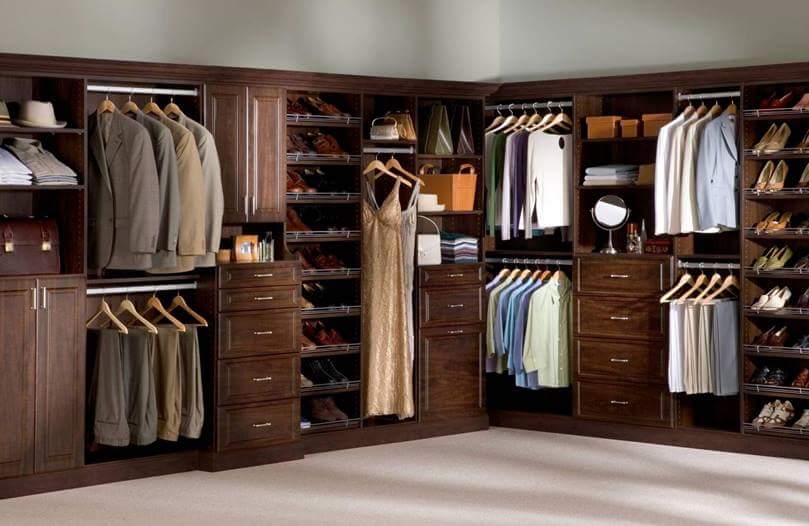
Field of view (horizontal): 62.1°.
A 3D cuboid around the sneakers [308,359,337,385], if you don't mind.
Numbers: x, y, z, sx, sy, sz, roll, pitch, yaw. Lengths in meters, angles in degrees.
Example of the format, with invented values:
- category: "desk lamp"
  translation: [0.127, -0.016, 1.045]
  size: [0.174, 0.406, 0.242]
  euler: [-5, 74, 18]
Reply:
- category: "sneakers"
  translation: [-0.686, 0.930, 5.732]
  size: [0.260, 0.091, 0.159]
  euler: [6, 8, 43]

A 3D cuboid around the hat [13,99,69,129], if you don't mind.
- category: "hat"
  translation: [-2.500, -1.024, 4.662]
  size: [0.269, 0.093, 0.226]
  euler: [11, 12, 24]

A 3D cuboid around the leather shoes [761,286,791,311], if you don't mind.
- category: "leather shoes"
  translation: [2.997, 0.306, 5.454]
  size: [0.332, 0.085, 0.122]
  euler: [-35, 22, -35]

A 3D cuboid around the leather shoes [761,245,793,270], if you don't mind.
- category: "leather shoes"
  translation: [3.033, -0.032, 5.520]
  size: [0.383, 0.107, 0.138]
  euler: [-36, 17, -28]

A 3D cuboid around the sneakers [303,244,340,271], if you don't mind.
- category: "sneakers"
  translation: [-0.639, -0.043, 5.701]
  size: [0.453, 0.158, 0.135]
  euler: [8, 24, 32]

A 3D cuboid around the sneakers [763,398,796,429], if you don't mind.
- category: "sneakers"
  translation: [3.054, 1.221, 5.501]
  size: [0.165, 0.185, 0.372]
  euler: [3, 6, 40]

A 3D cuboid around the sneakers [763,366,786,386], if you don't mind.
- category: "sneakers"
  translation: [3.000, 0.929, 5.481]
  size: [0.152, 0.112, 0.198]
  euler: [3, 5, 32]

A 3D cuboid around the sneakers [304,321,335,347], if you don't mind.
- category: "sneakers"
  translation: [-0.712, 0.608, 5.714]
  size: [0.269, 0.080, 0.165]
  euler: [19, 23, 36]

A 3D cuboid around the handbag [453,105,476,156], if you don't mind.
- category: "handbag"
  translation: [0.538, -1.193, 6.071]
  size: [0.208, 0.466, 0.508]
  euler: [-1, 2, -1]

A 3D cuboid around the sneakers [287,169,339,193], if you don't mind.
- category: "sneakers"
  translation: [-0.804, -0.688, 5.681]
  size: [0.248, 0.109, 0.325]
  euler: [-2, 3, -30]

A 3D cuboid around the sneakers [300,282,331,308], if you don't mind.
- category: "sneakers"
  translation: [-0.750, 0.274, 5.735]
  size: [0.185, 0.177, 0.220]
  euler: [1, -14, -20]

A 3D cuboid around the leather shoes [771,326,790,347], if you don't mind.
- category: "leather shoes"
  translation: [3.053, 0.601, 5.521]
  size: [0.101, 0.132, 0.275]
  euler: [3, 5, 34]

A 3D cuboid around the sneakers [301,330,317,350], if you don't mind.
- category: "sneakers"
  translation: [-0.790, 0.641, 5.601]
  size: [0.124, 0.153, 0.042]
  euler: [-7, -5, 1]

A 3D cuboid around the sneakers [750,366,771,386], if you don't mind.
- category: "sneakers"
  translation: [2.896, 0.931, 5.495]
  size: [0.084, 0.096, 0.245]
  euler: [-2, 4, 38]

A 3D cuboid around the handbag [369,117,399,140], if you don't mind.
- category: "handbag"
  translation: [-0.160, -1.147, 5.759]
  size: [0.273, 0.201, 0.127]
  euler: [1, 1, 23]

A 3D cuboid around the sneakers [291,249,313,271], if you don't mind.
- category: "sneakers"
  translation: [-0.847, -0.026, 5.573]
  size: [0.152, 0.188, 0.211]
  euler: [-7, -9, 25]

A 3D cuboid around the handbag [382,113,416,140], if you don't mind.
- category: "handbag"
  translation: [-0.036, -1.172, 5.801]
  size: [0.282, 0.238, 0.153]
  euler: [-3, -3, 33]

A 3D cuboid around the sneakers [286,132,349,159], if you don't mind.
- category: "sneakers"
  translation: [-0.733, -0.986, 5.626]
  size: [0.454, 0.144, 0.253]
  euler: [3, 6, 27]

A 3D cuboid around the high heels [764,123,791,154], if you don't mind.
- category: "high heels"
  translation: [2.996, -1.012, 5.456]
  size: [0.133, 0.253, 0.246]
  euler: [4, 6, 42]

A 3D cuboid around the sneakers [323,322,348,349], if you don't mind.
- category: "sneakers"
  translation: [-0.594, 0.630, 5.773]
  size: [0.170, 0.150, 0.058]
  euler: [0, -14, -24]

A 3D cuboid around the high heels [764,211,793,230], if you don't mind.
- category: "high heels"
  translation: [3.033, -0.335, 5.510]
  size: [0.162, 0.152, 0.275]
  euler: [3, 5, 34]

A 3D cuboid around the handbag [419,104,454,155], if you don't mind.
- category: "handbag"
  translation: [0.297, -1.185, 6.050]
  size: [0.251, 0.482, 0.541]
  euler: [-1, 0, -17]
